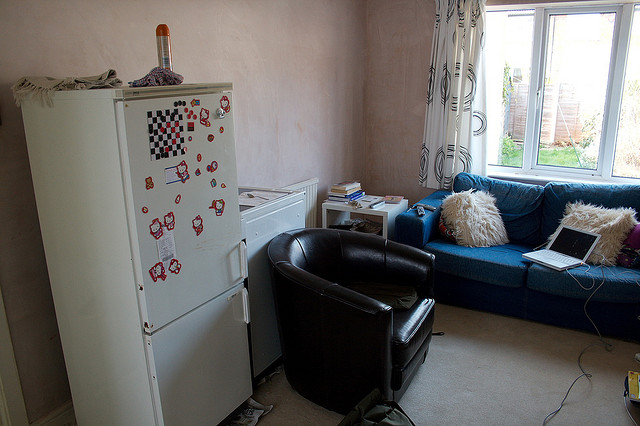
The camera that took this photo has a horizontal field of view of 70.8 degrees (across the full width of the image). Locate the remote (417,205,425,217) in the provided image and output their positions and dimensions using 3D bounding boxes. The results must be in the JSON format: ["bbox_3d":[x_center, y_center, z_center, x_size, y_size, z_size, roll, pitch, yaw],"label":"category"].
[{"bbox_3d":[0.903,-0.013,4.063,0.028,0.036,0.120,35,27,-8],"label":"remote"}]

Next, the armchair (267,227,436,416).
[{"bbox_3d":[0.219,0.682,3.203,0.977,1.052,0.876,11,22,34],"label":"armchair"}]

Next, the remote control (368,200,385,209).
[{"bbox_3d":[0.538,-0.080,4.305,0.058,0.032,0.218,16,28,37],"label":"remote control"}]

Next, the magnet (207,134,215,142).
[{"bbox_3d":[-0.639,-0.432,2.614,0.036,0.045,0.011,1,6,-26],"label":"magnet"}]

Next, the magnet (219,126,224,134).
[{"bbox_3d":[-0.587,-0.490,2.662,0.023,0.030,0.007,9,-4,-33],"label":"magnet"}]

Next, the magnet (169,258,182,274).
[{"bbox_3d":[-0.825,0.301,2.539,0.012,0.062,0.073,-1,-30,29],"label":"magnet"}]

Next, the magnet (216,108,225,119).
[{"bbox_3d":[-0.586,-0.584,2.640,0.043,0.044,0.012,-4,-3,-11],"label":"magnet"}]

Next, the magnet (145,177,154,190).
[{"bbox_3d":[-0.908,-0.158,2.382,0.009,0.071,0.055,7,16,31],"label":"magnet"}]

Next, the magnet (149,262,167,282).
[{"bbox_3d":[-0.893,0.324,2.470,0.022,0.089,0.085,3,20,29],"label":"magnet"}]

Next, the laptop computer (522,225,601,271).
[{"bbox_3d":[1.978,0.276,3.718,0.416,0.243,0.389,-5,14,-24],"label":"laptop computer"}]

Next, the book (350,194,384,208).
[{"bbox_3d":[0.456,-0.111,4.377,0.220,0.050,0.306,12,22,36],"label":"book"}]

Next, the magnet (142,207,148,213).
[{"bbox_3d":[-0.932,-0.014,2.382,0.032,0.032,0.008,5,-1,-40],"label":"magnet"}]

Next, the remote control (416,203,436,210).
[{"bbox_3d":[0.989,-0.059,4.187,0.166,0.040,0.128,3,18,15],"label":"remote control"}]

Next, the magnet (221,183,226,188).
[{"bbox_3d":[-0.584,-0.163,2.703,0.026,0.025,0.006,-6,13,-45],"label":"magnet"}]

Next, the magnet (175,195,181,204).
[{"bbox_3d":[-0.794,-0.075,2.507,0.021,0.036,0.007,11,2,-38],"label":"magnet"}]

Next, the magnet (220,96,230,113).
[{"bbox_3d":[-0.561,-0.642,2.660,0.056,0.081,0.019,-10,5,-43],"label":"magnet"}]
